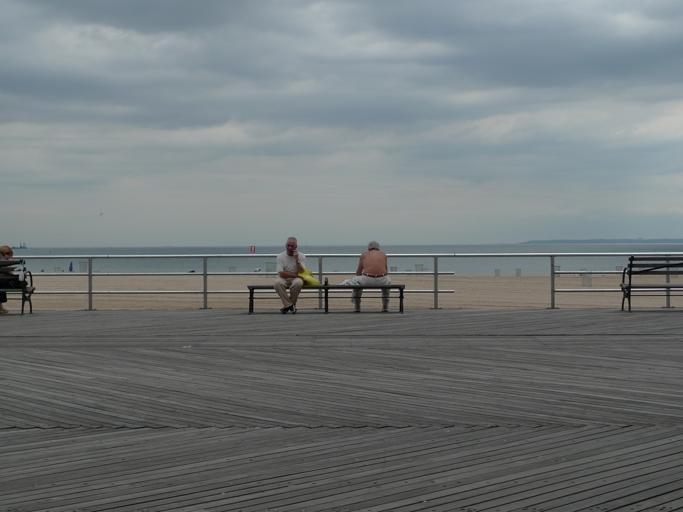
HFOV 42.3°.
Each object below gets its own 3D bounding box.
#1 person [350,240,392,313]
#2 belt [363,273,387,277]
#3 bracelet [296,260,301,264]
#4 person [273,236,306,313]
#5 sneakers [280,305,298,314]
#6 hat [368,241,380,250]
[{"bbox_3d":[0.517,0.330,14.257,0.625,1.138,1.270,-1,2,2],"label":"person"},{"bbox_3d":[0.579,0.292,13.914,0.368,0.075,0.148,-1,2,-8],"label":"belt"},{"bbox_3d":[-0.646,0.094,13.815,0.071,0.018,0.057,4,34,-33],"label":"bracelet"},{"bbox_3d":[-0.825,0.292,14.138,0.484,1.188,0.999,-1,2,-3],"label":"person"},{"bbox_3d":[-0.817,0.837,13.904,0.280,0.188,0.119,2,-4,-4],"label":"sneakers"},{"bbox_3d":[0.574,-0.169,14.150,0.158,0.130,0.161,2,5,4],"label":"hat"}]
